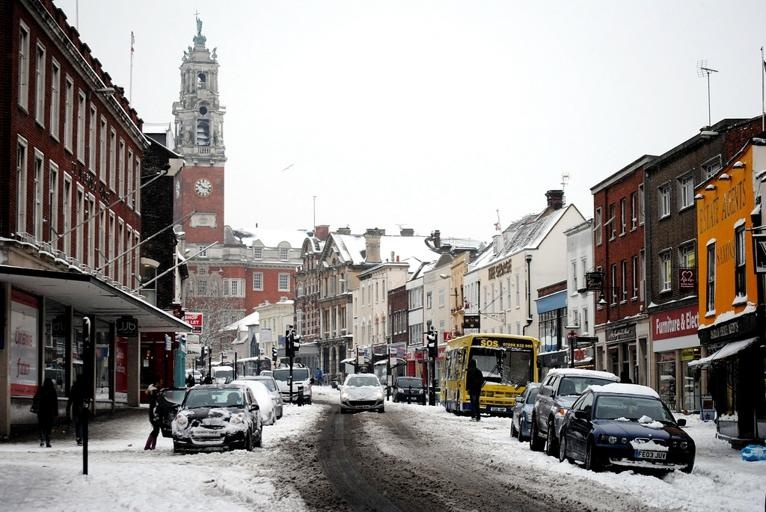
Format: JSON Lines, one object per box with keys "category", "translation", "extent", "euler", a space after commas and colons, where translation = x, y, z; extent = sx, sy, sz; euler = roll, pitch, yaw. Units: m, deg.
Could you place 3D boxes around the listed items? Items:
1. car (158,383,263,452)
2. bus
{"category": "car", "translation": [-5.149, 4.960, 37.433], "extent": [2.695, 2.384, 1.848], "euler": [4, -17, -18]}
{"category": "bus", "translation": [4.819, 5.500, 58.061], "extent": [2.308, 2.883, 6.691], "euler": [1, -5, -9]}
